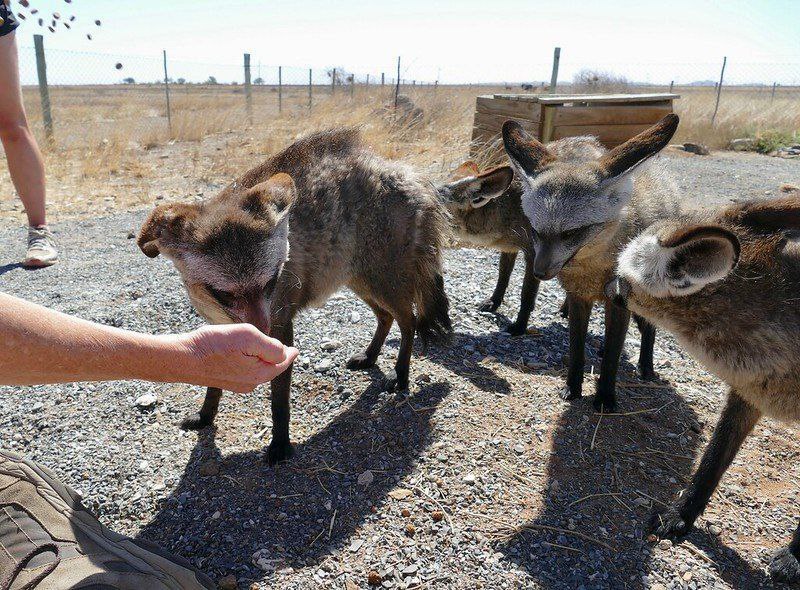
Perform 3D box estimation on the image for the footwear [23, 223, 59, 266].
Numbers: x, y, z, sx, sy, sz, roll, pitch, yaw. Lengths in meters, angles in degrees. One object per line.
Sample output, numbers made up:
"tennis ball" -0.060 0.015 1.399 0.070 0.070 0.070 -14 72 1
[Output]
"footwear" -3.615 -0.503 6.869 0.318 0.358 0.437 -9 25 -26
